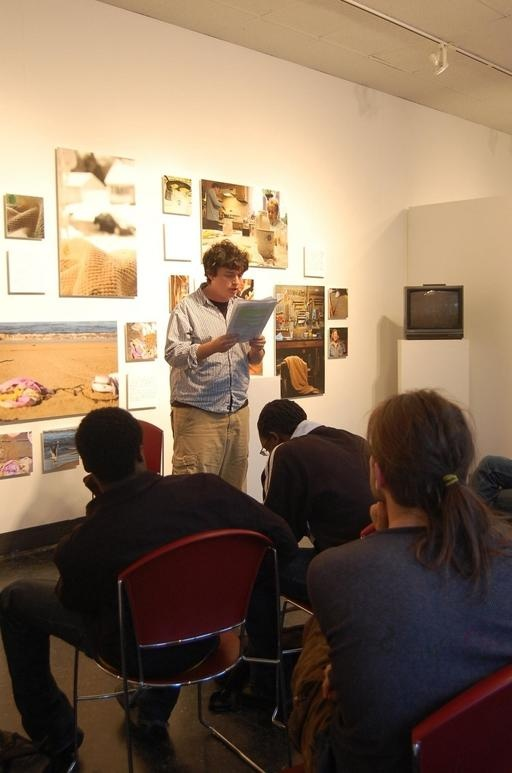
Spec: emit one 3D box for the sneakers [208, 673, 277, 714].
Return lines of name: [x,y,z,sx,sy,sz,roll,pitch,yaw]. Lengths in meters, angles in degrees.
sneakers: [-0.049,1.098,2.097,0.085,0.111,0.260,-6,-16,18]
